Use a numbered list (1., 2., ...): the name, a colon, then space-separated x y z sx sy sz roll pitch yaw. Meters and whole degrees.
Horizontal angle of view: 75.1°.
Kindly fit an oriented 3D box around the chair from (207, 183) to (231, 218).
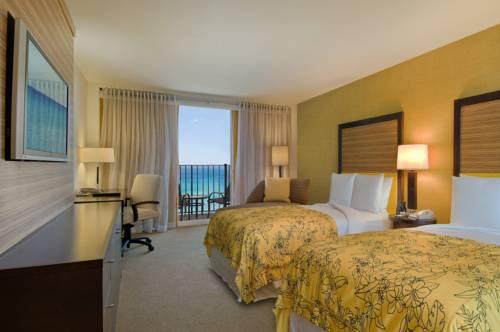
1. chair: -0.747 0.770 7.356 0.528 0.728 0.508 -3 0 5

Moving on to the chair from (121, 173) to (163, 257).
1. chair: -1.917 0.731 5.199 0.849 1.236 0.868 3 1 -33

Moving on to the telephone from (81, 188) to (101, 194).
1. telephone: -2.387 0.379 4.852 0.194 0.056 0.144 0 -3 -16

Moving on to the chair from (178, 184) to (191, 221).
1. chair: -1.452 0.828 7.356 0.370 0.694 0.390 0 -2 -11

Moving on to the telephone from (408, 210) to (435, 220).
1. telephone: 2.297 0.644 4.391 0.278 0.099 0.159 0 -2 -24

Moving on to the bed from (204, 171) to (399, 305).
1. bed: 0.781 0.856 4.872 2.497 1.542 1.744 0 -1 -20

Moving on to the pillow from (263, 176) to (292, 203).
1. pillow: 0.516 0.468 6.142 0.400 0.387 0.154 3 -31 10
